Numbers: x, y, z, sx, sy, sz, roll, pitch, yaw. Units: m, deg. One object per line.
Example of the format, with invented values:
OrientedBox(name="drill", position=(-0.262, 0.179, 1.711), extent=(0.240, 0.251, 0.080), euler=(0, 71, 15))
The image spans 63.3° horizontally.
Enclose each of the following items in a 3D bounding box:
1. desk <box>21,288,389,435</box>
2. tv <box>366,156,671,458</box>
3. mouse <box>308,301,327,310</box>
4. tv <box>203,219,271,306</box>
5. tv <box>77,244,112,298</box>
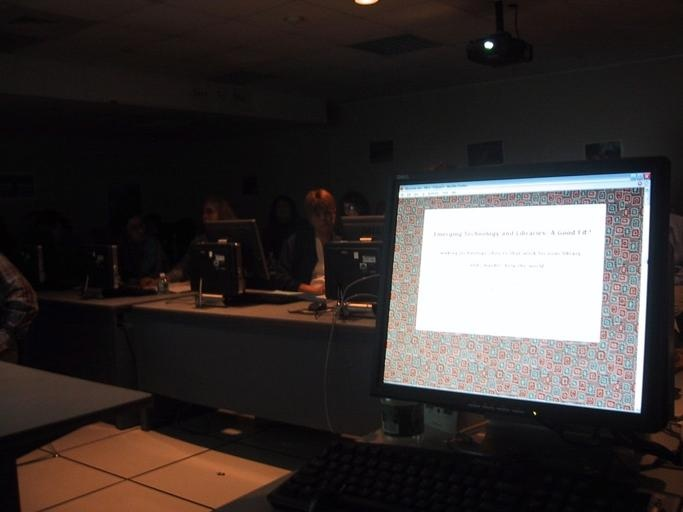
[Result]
OrientedBox(name="desk", position=(-0.791, 0.545, 3.070), extent=(2.290, 0.582, 0.241), euler=(-1, 6, 29))
OrientedBox(name="tv", position=(0.385, 0.108, 1.157), extent=(0.671, 0.597, 0.244), euler=(0, -2, 25))
OrientedBox(name="mouse", position=(-0.113, 0.237, 2.736), extent=(0.052, 0.034, 0.055), euler=(3, 4, 32))
OrientedBox(name="tv", position=(-0.623, 0.051, 3.265), extent=(0.531, 0.472, 0.226), euler=(5, 14, 44))
OrientedBox(name="tv", position=(-1.641, 0.107, 3.695), extent=(0.191, 0.323, 0.340), euler=(3, -7, -45))
